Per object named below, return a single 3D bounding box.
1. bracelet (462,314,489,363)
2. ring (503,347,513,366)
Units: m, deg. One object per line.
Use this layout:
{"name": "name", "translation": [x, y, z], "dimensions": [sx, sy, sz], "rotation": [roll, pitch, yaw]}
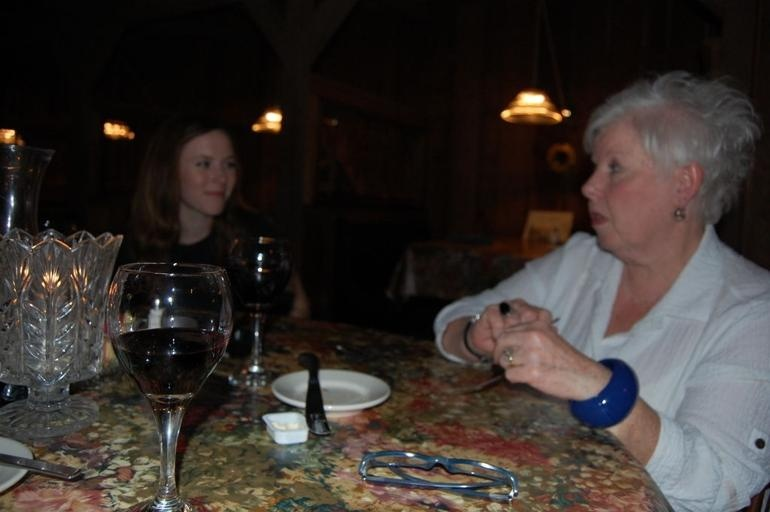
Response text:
{"name": "bracelet", "translation": [0.226, 0.206, 1.694], "dimensions": [0.102, 0.093, 0.027], "rotation": [41, -23, -31]}
{"name": "ring", "translation": [0.268, 0.219, 1.429], "dimensions": [0.012, 0.031, 0.023], "rotation": [-2, 2, -38]}
